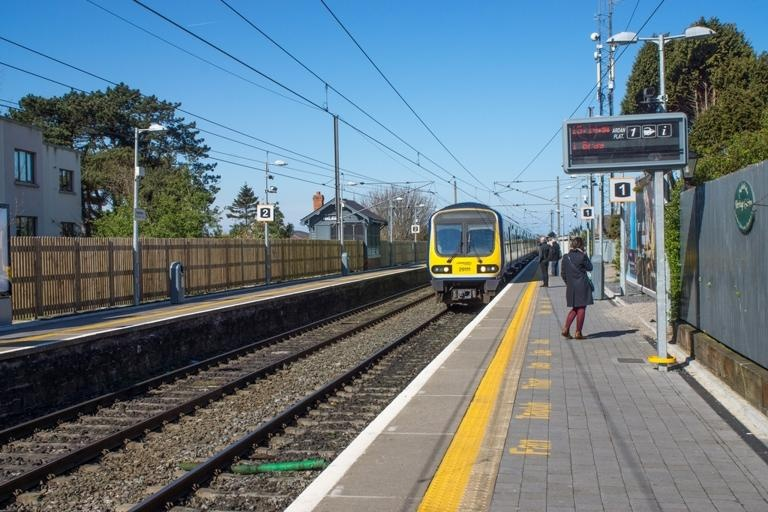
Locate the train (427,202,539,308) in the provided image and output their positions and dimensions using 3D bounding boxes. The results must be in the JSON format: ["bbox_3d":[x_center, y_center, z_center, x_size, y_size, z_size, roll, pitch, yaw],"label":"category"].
[{"bbox_3d":[2.871,-0.073,23.087,2.626,3.353,1.072,-2,2,-4],"label":"train"}]

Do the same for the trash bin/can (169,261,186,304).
[{"bbox_3d":[-6.886,0.890,22.097,0.409,1.352,0.662,-2,2,-22],"label":"trash bin/can"}]

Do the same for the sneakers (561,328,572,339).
[{"bbox_3d":[3.914,1.685,14.297,0.341,0.242,0.121,-10,16,-41],"label":"sneakers"}]

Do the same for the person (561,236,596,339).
[{"bbox_3d":[4.142,0.692,14.325,0.619,2.194,1.186,-1,2,14],"label":"person"}]
